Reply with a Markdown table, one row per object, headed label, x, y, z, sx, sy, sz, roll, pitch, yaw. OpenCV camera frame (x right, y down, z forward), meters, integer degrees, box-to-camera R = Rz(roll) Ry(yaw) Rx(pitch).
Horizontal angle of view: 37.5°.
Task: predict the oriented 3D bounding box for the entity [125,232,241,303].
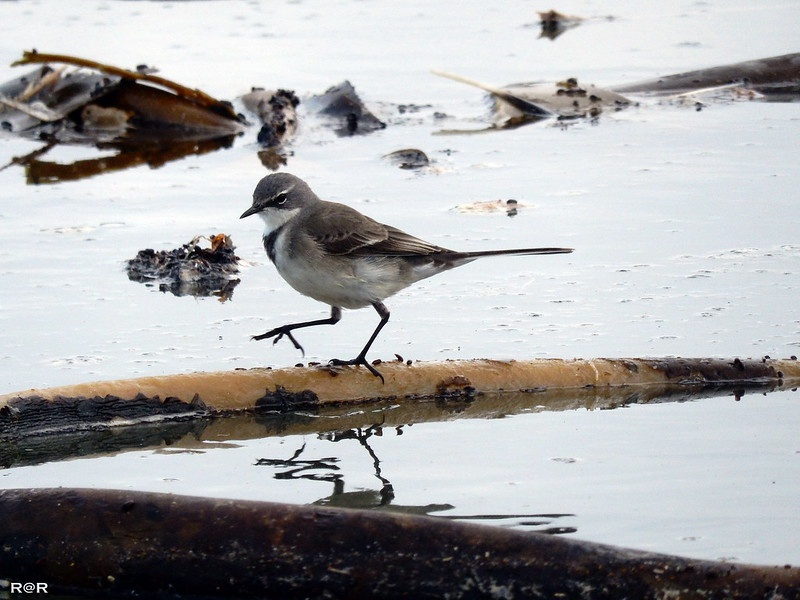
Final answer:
| label | x | y | z | sx | sy | sz | roll | pitch | yaw |
| --- | --- | --- | --- | --- | --- | --- | --- | --- | --- |
| entity | -1.939 | -0.297 | 10.817 | 1.198 | 0.271 | 0.731 | -11 | 29 | -31 |
